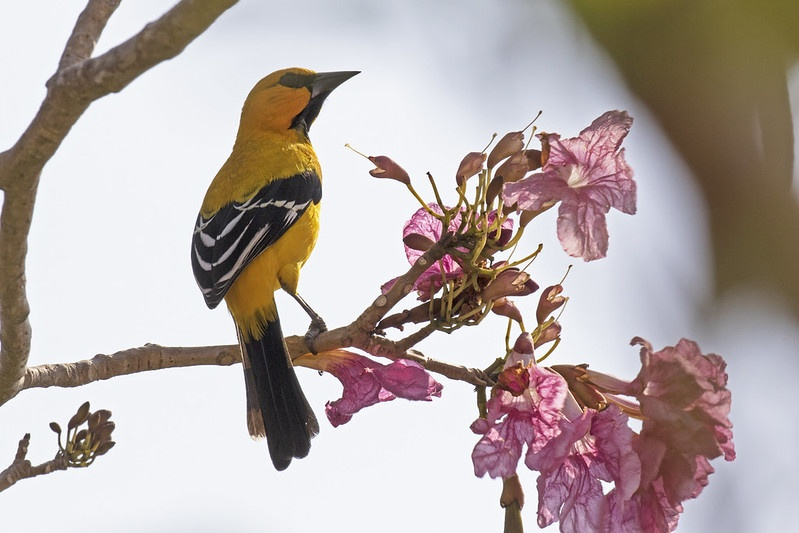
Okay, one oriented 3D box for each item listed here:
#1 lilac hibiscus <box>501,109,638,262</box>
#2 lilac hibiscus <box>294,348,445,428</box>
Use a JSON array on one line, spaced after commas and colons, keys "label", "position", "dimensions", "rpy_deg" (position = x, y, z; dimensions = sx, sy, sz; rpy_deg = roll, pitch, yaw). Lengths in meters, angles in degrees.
[{"label": "lilac hibiscus", "position": [0.570, -0.247, 3.402], "dimensions": [0.446, 0.415, 0.255], "rpy_deg": [-11, -41, 13]}, {"label": "lilac hibiscus", "position": [-0.174, 0.420, 3.676], "dimensions": [0.578, 0.366, 0.210], "rpy_deg": [-8, -5, 14]}]
